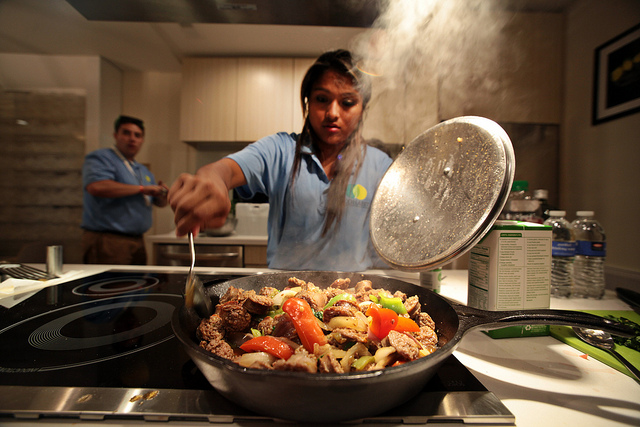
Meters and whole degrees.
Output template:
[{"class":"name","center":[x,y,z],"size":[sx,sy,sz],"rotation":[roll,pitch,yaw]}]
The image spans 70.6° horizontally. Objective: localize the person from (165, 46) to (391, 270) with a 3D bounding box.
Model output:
[{"class":"person","center":[-0.281,-0.441,3.260],"size":[1.805,1.558,1.011],"rotation":[4,-2,1]}]

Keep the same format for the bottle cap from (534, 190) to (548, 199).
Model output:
[{"class":"bottle cap","center":[1.527,-0.128,3.140],"size":[0.078,0.047,0.078],"rotation":[0,-3,1]}]

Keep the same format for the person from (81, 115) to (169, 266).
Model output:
[{"class":"person","center":[-1.630,-0.204,3.773],"size":[0.637,1.323,0.488],"rotation":[2,0,-28]}]

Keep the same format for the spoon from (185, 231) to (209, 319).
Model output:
[{"class":"spoon","center":[-0.594,0.306,2.139],"size":[0.049,0.329,0.160],"rotation":[-9,1,-11]}]

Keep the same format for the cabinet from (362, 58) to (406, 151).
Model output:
[{"class":"cabinet","center":[0.466,-0.733,3.113],"size":[0.407,0.460,0.465],"rotation":[1,-1,1]}]

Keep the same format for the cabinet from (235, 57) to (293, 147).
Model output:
[{"class":"cabinet","center":[-0.520,-1.050,4.185],"size":[0.547,0.797,0.387],"rotation":[2,0,-6]}]

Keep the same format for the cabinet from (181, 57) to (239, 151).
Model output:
[{"class":"cabinet","center":[-1.051,-1.064,4.253],"size":[0.583,0.845,0.460],"rotation":[2,0,-4]}]
